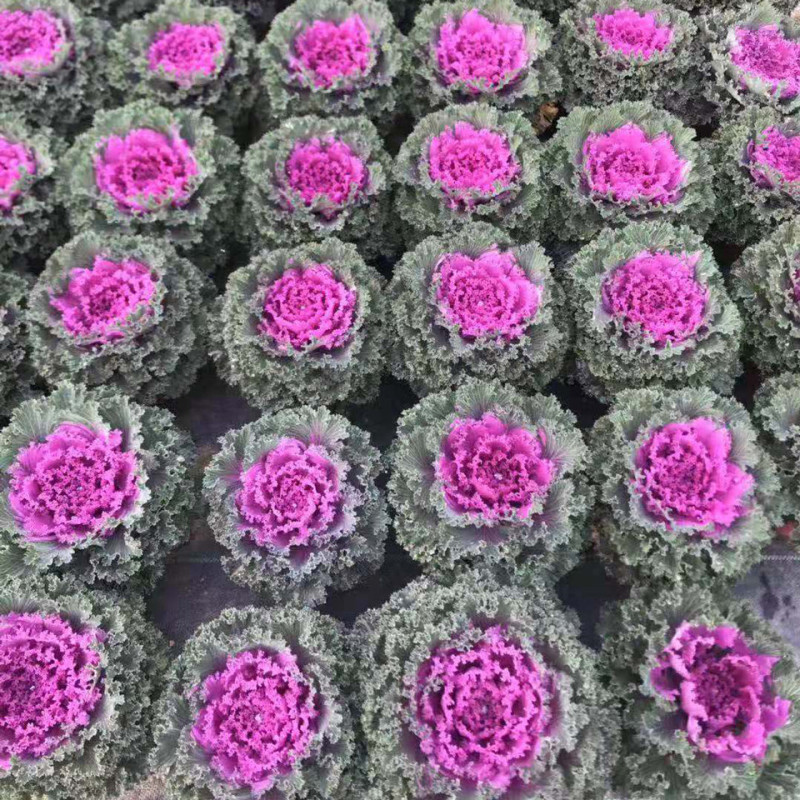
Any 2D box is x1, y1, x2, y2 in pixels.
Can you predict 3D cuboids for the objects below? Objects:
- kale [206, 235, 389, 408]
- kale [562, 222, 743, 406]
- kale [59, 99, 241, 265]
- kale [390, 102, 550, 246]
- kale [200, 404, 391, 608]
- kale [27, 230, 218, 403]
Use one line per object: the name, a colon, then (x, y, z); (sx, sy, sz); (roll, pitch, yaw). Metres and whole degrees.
kale: (-0.645, -0.513, 6.519); (1.093, 0.542, 1.043); (-8, 74, -1)
kale: (1.698, -0.555, 6.714); (1.022, 0.902, 1.155); (-11, 74, -1)
kale: (-1.760, -1.558, 7.049); (1.082, 0.518, 1.166); (-39, 93, -16)
kale: (0.455, -1.619, 6.520); (0.952, 0.458, 0.929); (-42, 80, -5)
kale: (-0.649, 0.681, 6.151); (1.124, 0.588, 1.220); (-11, 74, -1)
kale: (-1.990, -0.539, 6.564); (0.968, 0.959, 0.466); (43, 114, 27)
